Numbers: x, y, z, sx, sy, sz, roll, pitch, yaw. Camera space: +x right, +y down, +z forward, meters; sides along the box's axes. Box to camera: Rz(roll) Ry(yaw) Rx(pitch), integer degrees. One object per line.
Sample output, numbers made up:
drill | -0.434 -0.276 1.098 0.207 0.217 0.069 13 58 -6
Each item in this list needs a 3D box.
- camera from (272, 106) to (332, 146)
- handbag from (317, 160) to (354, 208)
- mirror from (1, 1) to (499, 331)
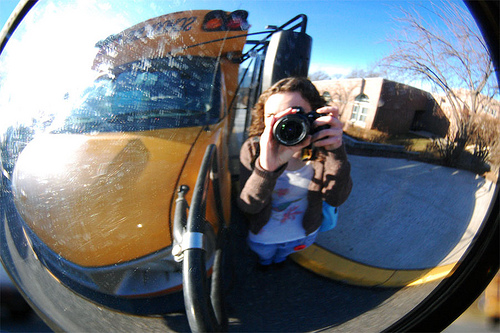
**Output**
camera | 0.204 -0.150 1.435 0.262 0.157 0.318 -4 2 -35
handbag | 0.361 0.069 1.340 0.134 0.175 0.065 30 15 31
mirror | -0.054 0.051 1.934 1.615 1.694 0.593 6 0 -5
